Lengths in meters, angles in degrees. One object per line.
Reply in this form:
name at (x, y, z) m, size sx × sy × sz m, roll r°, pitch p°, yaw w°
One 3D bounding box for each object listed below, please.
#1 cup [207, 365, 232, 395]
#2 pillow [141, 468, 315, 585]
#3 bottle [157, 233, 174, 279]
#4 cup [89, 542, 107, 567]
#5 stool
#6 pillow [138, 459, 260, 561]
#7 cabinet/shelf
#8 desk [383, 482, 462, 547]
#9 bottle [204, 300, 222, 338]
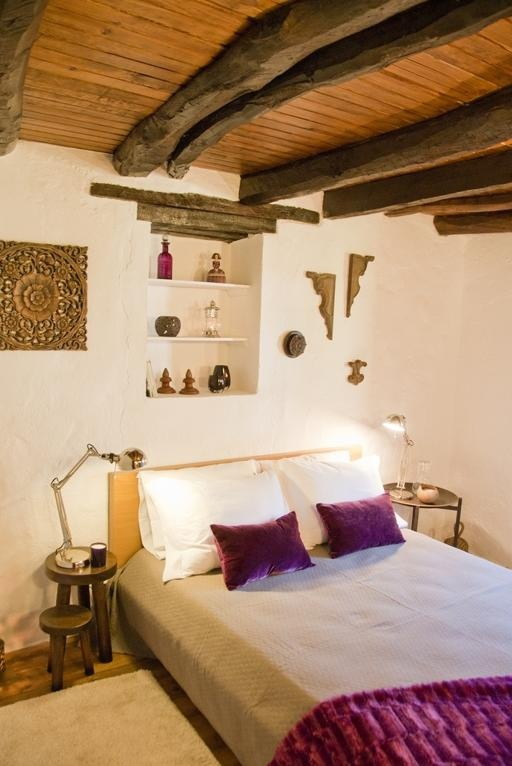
cup at (-0.218, -0.019, 3.412) m, size 0.128 × 0.161 × 0.151 m, roll 2°, pitch 4°, yaw -6°
pillow at (-0.261, 0.638, 2.793) m, size 0.580 × 0.509 × 0.170 m, roll 0°, pitch -30°, yaw -34°
bottle at (-0.495, -0.670, 3.148) m, size 0.069 × 0.245 × 0.210 m, roll 2°, pitch 4°, yaw -13°
cup at (-0.715, 0.777, 2.621) m, size 0.082 × 0.091 × 0.083 m, roll 1°, pitch 5°, yaw 0°
stool at (-0.787, 1.121, 2.579) m, size 0.302 × 0.319 × 0.272 m, roll -4°, pitch 15°, yaw -16°
pillow at (-0.289, 0.628, 2.766) m, size 0.508 × 0.347 × 0.057 m, roll -7°, pitch -8°, yaw -27°
cabinet/shelf at (-0.350, -0.256, 3.380) m, size 0.762 × 0.675 × 0.260 m, roll -1°, pitch -1°, yaw -26°
desk at (1.196, 0.919, 3.761) m, size 0.295 × 0.345 × 0.328 m, roll 17°, pitch -28°, yaw -42°
bottle at (-0.264, -0.380, 3.480) m, size 0.092 × 0.222 × 0.284 m, roll 3°, pitch 4°, yaw -5°
